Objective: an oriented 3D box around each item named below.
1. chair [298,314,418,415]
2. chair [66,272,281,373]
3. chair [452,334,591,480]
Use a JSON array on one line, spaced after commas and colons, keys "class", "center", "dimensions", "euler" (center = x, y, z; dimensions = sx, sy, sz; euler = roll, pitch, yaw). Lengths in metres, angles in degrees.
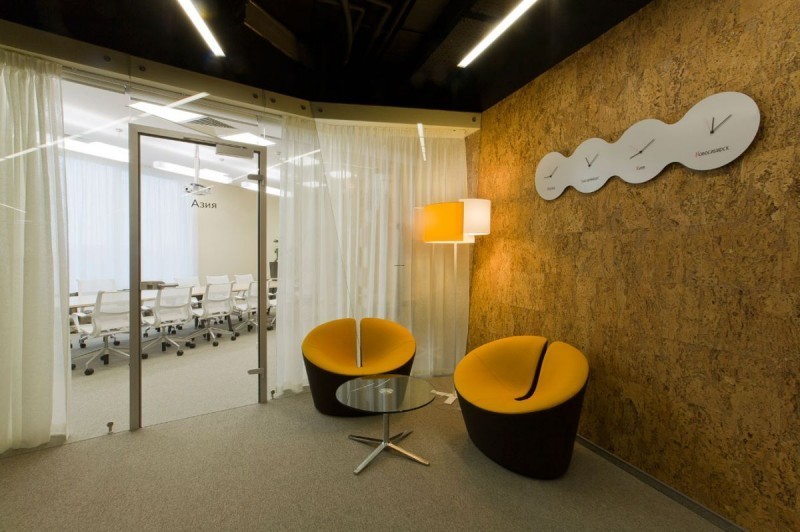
[{"class": "chair", "center": [-0.466, 1.175, 6.529], "dimensions": [1.311, 0.959, 1.103], "euler": [-2, 8, -20]}, {"class": "chair", "center": [-2.638, 0.720, 6.550], "dimensions": [2.274, 1.157, 1.035], "euler": [-4, 4, -22]}, {"class": "chair", "center": [1.178, 1.435, 5.732], "dimensions": [1.227, 1.137, 1.434], "euler": [-11, 15, -33]}]
